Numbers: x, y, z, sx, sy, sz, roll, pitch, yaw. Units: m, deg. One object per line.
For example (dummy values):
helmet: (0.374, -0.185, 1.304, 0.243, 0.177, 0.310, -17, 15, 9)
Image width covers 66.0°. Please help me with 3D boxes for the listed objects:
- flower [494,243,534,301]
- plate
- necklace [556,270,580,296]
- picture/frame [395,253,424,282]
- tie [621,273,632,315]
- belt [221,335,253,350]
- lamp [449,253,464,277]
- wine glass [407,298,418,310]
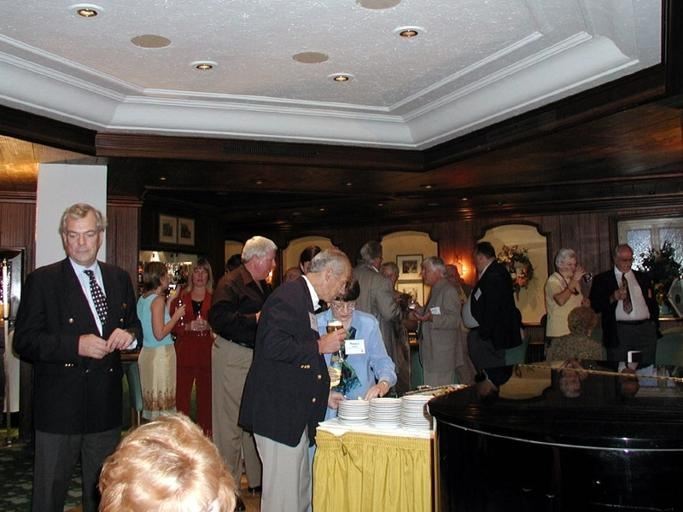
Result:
flower: (3.521, 0.308, 10.665, 1.094, 1.217, 0.451, 1, -4, 27)
plate: (0.263, 0.933, 3.116, 0.362, 0.100, 0.277, -1, -5, -2)
necklace: (2.662, 0.326, 6.176, 0.214, 0.097, 0.277, 19, 16, 9)
picture/frame: (1.492, 0.227, 11.463, 0.713, 0.634, 0.046, 1, 3, 15)
tie: (3.399, 0.445, 6.262, 0.106, 0.490, 0.303, -1, -2, 28)
belt: (-0.833, 0.714, 4.342, 0.144, 0.041, 0.140, 15, 0, 8)
lamp: (2.294, 0.147, 10.491, 0.447, 0.548, 0.186, -1, -2, 14)
wine glass: (0.948, 0.648, 7.033, 0.099, 0.125, 0.130, -5, -13, 13)
